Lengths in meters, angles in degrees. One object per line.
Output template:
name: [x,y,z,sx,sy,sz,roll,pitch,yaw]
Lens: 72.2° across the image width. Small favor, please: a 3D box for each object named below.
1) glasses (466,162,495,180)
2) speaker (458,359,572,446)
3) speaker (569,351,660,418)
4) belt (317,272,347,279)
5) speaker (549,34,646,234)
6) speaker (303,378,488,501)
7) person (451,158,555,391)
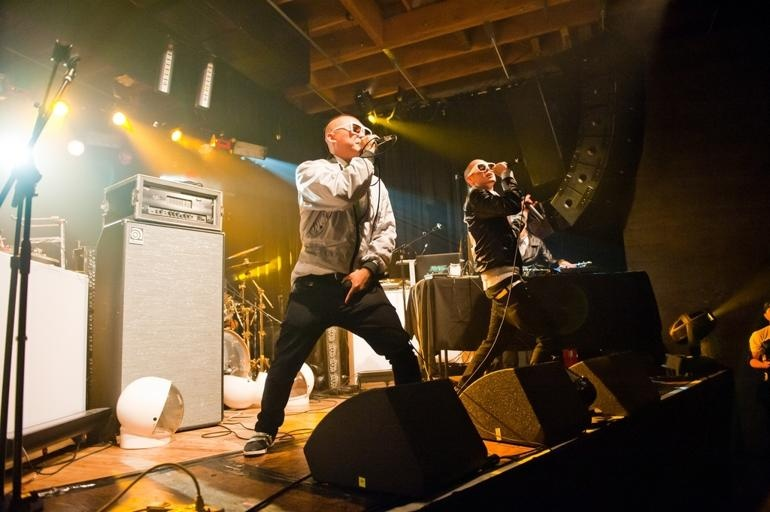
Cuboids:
glasses: [0.924,-0.845,5.231,0.207,0.060,0.207,-9,-12,-40]
speaker: [0.924,1.073,3.730,0.700,0.382,0.688,25,-29,-26]
speaker: [1.718,0.927,3.989,0.534,0.325,0.501,-2,-3,-31]
belt: [-0.380,0.140,3.791,0.182,0.050,0.040,0,-5,-12]
speaker: [2.747,-1.514,6.647,1.084,2.490,0.376,-4,-6,26]
speaker: [-0.087,1.127,3.385,0.797,0.435,0.784,10,-1,8]
person: [1.137,0.110,5.051,0.890,2.162,0.947,-3,-6,17]
